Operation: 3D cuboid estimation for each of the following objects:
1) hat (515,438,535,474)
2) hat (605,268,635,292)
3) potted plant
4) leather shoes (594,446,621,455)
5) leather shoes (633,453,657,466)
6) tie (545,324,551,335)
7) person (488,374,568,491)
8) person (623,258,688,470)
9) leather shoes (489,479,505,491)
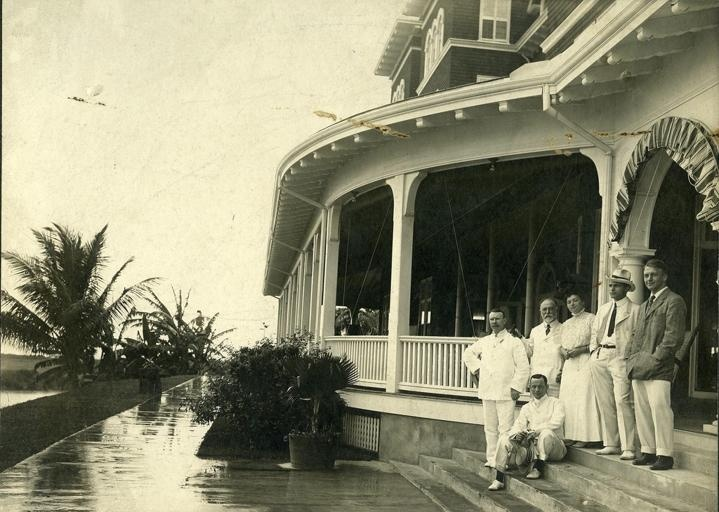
[{"bbox_3d":[3.014,3.584,16.416,0.286,0.582,0.369,2,16,24],"label":"hat"},{"bbox_3d":[4.790,0.436,16.304,0.400,0.188,0.469,11,-20,49],"label":"hat"},{"bbox_3d":[-0.885,3.243,19.506,1.361,2.615,1.592,2,-12,-5],"label":"potted plant"},{"bbox_3d":[4.370,3.383,15.911,0.412,0.188,0.157,2,-6,12],"label":"leather shoes"},{"bbox_3d":[4.831,3.414,15.272,0.459,0.207,0.159,0,-5,15],"label":"leather shoes"},{"bbox_3d":[3.541,1.375,17.013,0.045,0.175,0.096,22,-19,-34],"label":"tie"},{"bbox_3d":[3.092,3.185,16.387,1.277,2.032,0.515,-2,-12,11],"label":"person"},{"bbox_3d":[4.989,1.814,15.244,0.477,3.465,1.005,8,-14,-32],"label":"person"},{"bbox_3d":[2.467,4.101,16.215,0.268,0.120,0.140,-1,-5,0],"label":"leather shoes"}]
